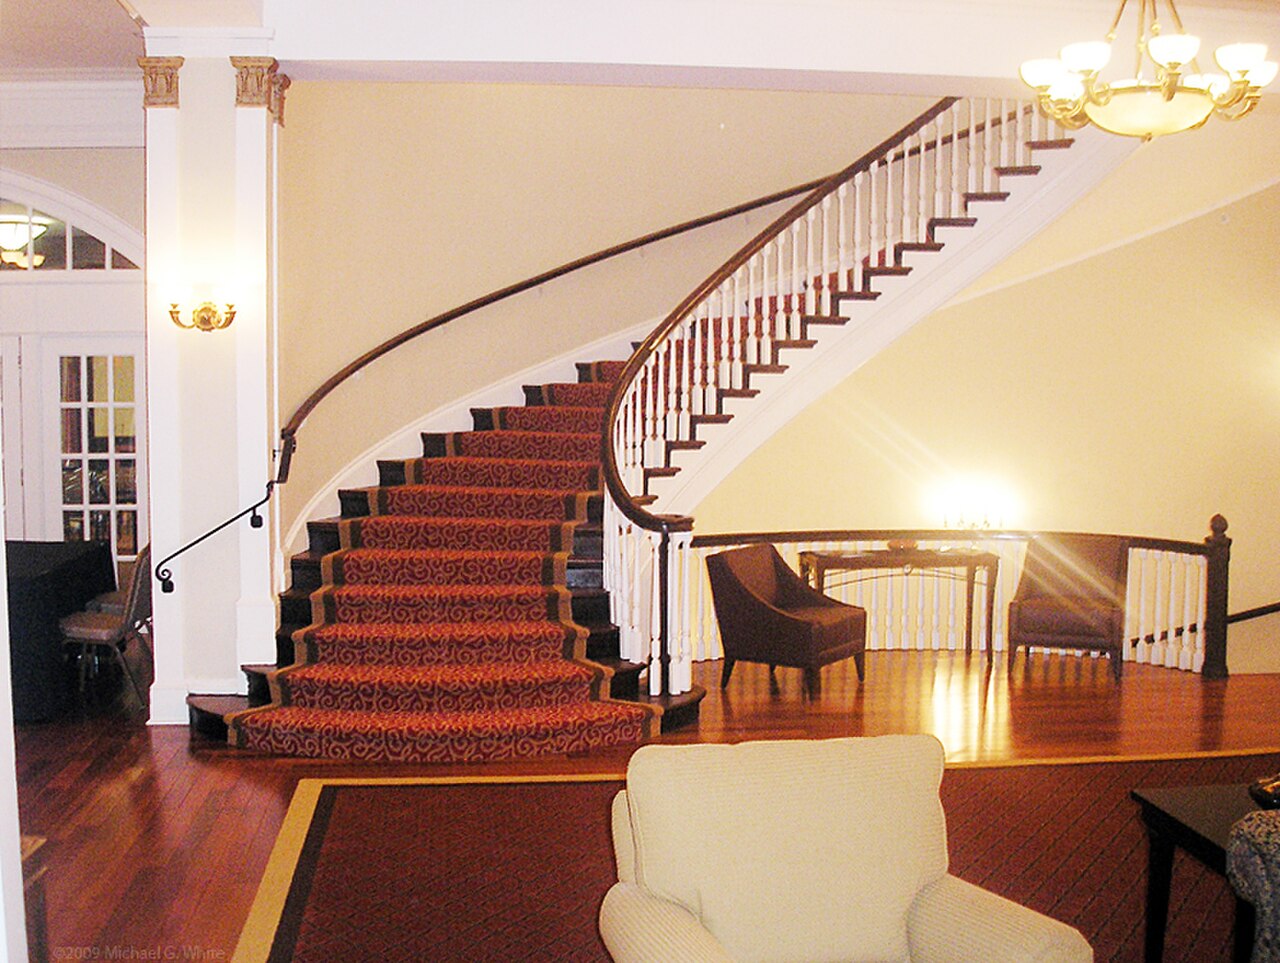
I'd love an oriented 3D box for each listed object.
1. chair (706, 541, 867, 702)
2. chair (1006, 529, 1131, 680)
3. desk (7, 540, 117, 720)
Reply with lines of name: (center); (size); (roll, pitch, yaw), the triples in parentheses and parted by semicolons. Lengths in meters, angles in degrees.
chair: (1.072, 0.974, 7.784); (1.042, 0.952, 1.026); (-3, 2, -37)
chair: (3.320, 0.948, 8.263); (0.843, 1.109, 1.117); (2, -2, 23)
desk: (-4.000, 0.976, 7.130); (0.546, 1.017, 1.180); (2, 0, -13)
